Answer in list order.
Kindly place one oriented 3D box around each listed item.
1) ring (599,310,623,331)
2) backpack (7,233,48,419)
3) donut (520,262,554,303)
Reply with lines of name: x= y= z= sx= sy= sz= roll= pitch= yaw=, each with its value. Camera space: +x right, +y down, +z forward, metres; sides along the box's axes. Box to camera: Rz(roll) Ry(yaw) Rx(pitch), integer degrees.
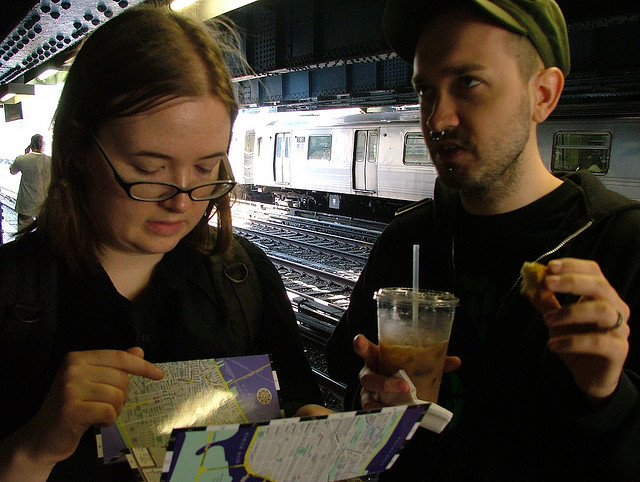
ring: x=0.911 y=0.252 z=1.441 sx=0.015 sy=0.063 sz=0.064 roll=20 pitch=-21 yaw=-25
backpack: x=-1.087 y=0.331 z=1.708 sx=0.136 sy=0.624 sz=0.150 roll=-2 pitch=4 yaw=-38
donut: x=0.683 y=0.116 z=1.468 sx=0.041 sy=0.125 sz=0.092 roll=-22 pitch=-26 yaw=-24
